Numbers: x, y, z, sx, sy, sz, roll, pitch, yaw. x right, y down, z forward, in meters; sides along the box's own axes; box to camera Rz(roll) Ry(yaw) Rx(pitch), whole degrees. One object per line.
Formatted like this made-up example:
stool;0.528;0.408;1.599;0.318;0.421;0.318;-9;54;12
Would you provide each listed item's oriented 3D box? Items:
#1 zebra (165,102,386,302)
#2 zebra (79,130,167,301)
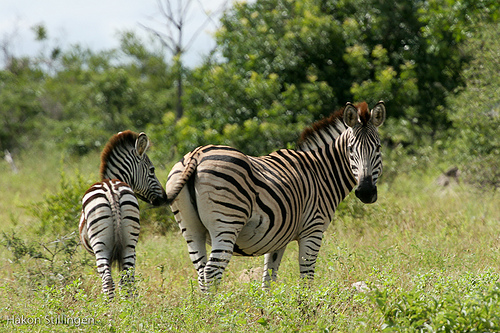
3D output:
zebra;0.504;0.633;14.729;4.158;3.671;1.039;-4;8;-12
zebra;-2.877;1.078;16.543;1.215;3.502;4.502;1;6;-7
